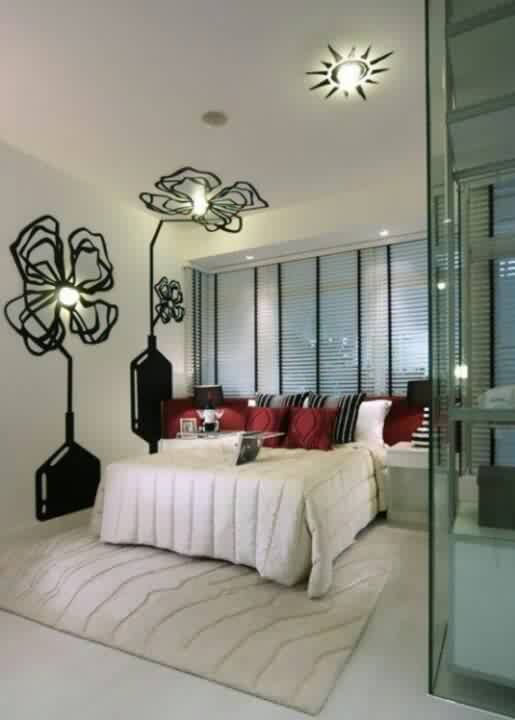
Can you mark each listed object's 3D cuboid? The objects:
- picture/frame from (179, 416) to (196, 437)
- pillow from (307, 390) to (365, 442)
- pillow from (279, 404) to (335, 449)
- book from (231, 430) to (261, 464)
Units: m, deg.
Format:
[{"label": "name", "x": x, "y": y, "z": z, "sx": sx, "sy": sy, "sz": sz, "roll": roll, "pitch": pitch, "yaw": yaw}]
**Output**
[{"label": "picture/frame", "x": -0.642, "y": 0.603, "z": 4.910, "sx": 0.140, "sy": 0.179, "sz": 0.012, "roll": 6, "pitch": -9, "yaw": -35}, {"label": "pillow", "x": 0.607, "y": 0.443, "z": 4.169, "sx": 0.384, "sy": 0.212, "sz": 0.476, "roll": -19, "pitch": 14, "yaw": -37}, {"label": "pillow", "x": 0.370, "y": 0.494, "z": 4.014, "sx": 0.324, "sy": 0.316, "sz": 0.102, "roll": -2, "pitch": -30, "yaw": 37}, {"label": "book", "x": -0.066, "y": 0.506, "z": 3.181, "sx": 0.043, "sy": 0.172, "sz": 0.186, "roll": 14, "pitch": 3, "yaw": 21}]
